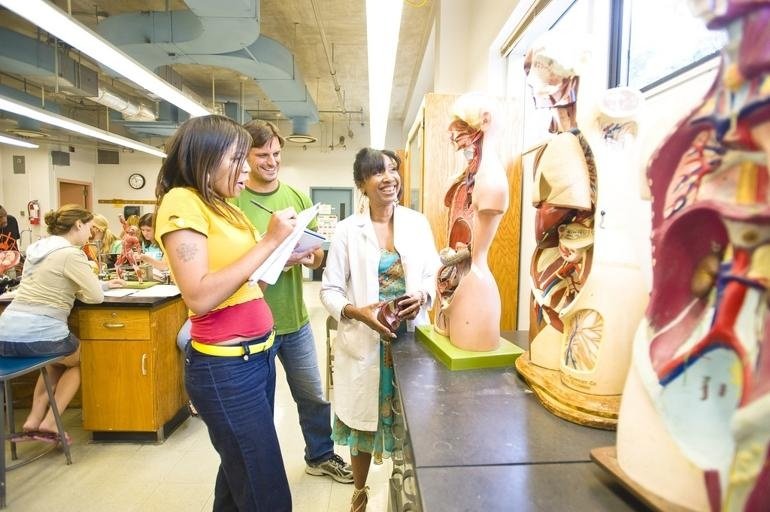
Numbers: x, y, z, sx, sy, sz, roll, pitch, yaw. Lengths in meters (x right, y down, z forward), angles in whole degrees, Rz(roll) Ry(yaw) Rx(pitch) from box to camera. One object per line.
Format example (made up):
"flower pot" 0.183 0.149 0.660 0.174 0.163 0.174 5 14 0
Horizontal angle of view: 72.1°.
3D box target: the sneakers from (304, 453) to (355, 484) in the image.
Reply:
"sneakers" -0.329 1.326 3.297 0.313 0.134 0.123 1 -12 10

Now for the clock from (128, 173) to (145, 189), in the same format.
"clock" -5.688 -1.709 12.120 0.361 0.365 0.084 -1 -4 -4

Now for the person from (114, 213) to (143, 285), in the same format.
"person" -2.376 -0.093 4.886 0.186 0.540 1.523 -2 5 -25

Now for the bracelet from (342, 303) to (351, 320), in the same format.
"bracelet" -0.204 0.286 2.710 0.061 0.058 0.074 -5 8 -7

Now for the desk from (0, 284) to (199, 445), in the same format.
"desk" -2.107 0.796 4.147 0.933 1.410 1.172 -1 -1 -2

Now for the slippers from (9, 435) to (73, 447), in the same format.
"slippers" -2.315 1.241 3.553 0.183 0.049 0.142 3 -1 -4
